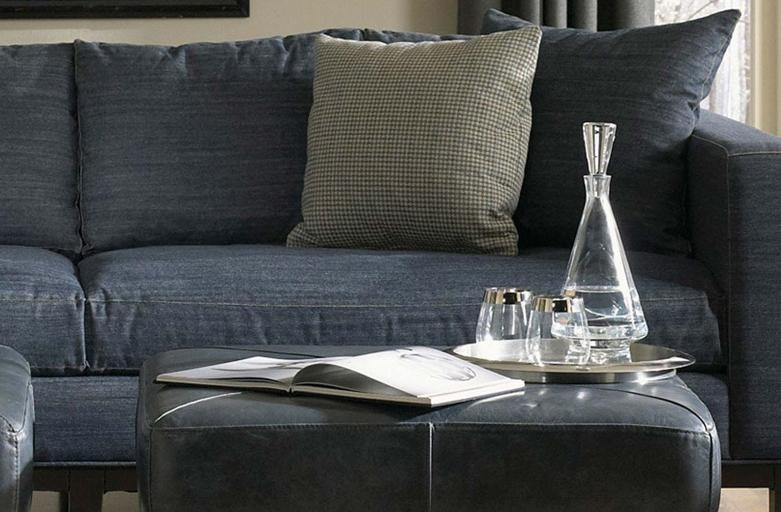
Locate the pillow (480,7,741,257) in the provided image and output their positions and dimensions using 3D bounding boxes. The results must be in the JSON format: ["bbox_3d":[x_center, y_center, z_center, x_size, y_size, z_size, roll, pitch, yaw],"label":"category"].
[{"bbox_3d":[0.589,-0.422,2.886,0.676,0.309,0.532,6,-36,16],"label":"pillow"}]

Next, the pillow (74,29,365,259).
[{"bbox_3d":[-0.563,-0.340,3.060,0.817,0.626,0.270,0,4,13],"label":"pillow"}]

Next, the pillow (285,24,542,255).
[{"bbox_3d":[0.076,-0.345,2.855,0.758,0.572,0.381,3,23,26],"label":"pillow"}]

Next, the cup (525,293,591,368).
[{"bbox_3d":[0.332,0.145,1.967,0.156,0.123,0.135,-4,4,-13],"label":"cup"}]
